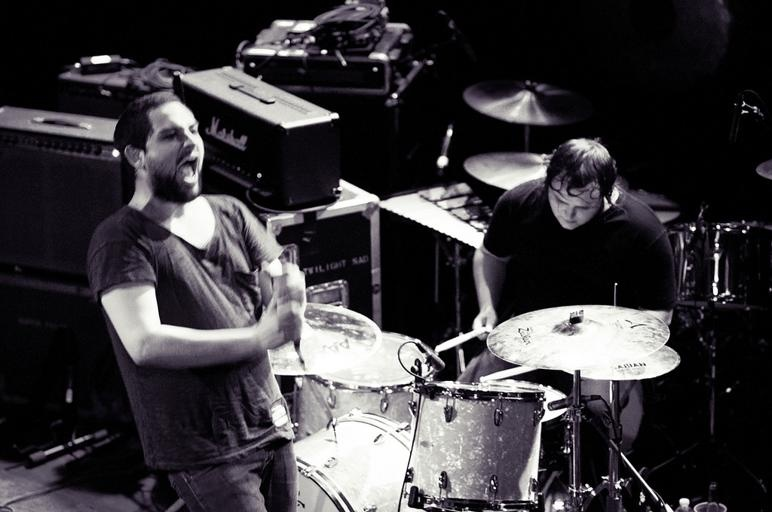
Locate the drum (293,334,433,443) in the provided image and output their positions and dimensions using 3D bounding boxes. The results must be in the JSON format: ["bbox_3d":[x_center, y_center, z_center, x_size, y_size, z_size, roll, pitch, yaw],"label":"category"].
[{"bbox_3d":[-0.144,0.721,5.620,0.695,0.613,0.668,4,28,-2],"label":"drum"}]

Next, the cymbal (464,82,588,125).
[{"bbox_3d":[0.962,-1.052,6.264,0.489,0.107,0.470,20,35,19],"label":"cymbal"}]

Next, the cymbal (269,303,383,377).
[{"bbox_3d":[-0.308,0.428,4.764,0.451,0.099,0.435,16,37,27],"label":"cymbal"}]
